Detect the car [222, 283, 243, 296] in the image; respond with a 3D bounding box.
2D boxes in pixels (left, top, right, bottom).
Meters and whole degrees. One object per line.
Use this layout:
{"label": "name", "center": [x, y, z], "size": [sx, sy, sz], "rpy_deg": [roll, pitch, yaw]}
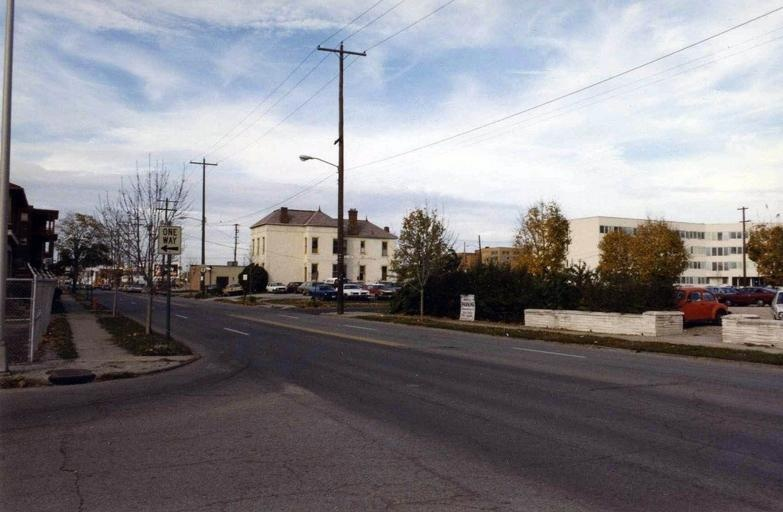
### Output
{"label": "car", "center": [-17.935, 3.813, 76.827], "size": [1.936, 0.919, 1.159], "rpy_deg": [3, 0, 18]}
